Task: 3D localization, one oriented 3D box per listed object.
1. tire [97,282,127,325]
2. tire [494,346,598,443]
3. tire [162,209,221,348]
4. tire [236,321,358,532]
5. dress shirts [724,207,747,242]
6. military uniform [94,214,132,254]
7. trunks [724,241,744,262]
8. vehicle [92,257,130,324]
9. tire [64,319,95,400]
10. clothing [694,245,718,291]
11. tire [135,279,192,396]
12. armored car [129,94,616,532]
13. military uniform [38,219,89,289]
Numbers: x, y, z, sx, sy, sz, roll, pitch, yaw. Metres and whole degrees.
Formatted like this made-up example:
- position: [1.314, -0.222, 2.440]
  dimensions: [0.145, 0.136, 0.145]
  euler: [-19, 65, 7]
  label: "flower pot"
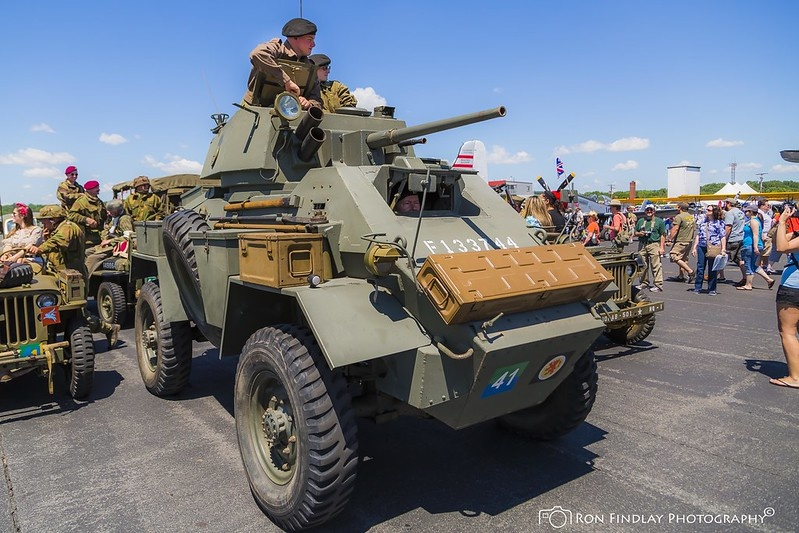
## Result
- position: [-5.516, 0.713, 10.949]
  dimensions: [0.252, 0.846, 0.783]
  euler: [1, 0, -42]
  label: "tire"
- position: [1.527, 1.347, 6.014]
  dimensions: [0.397, 1.222, 1.149]
  euler: [-4, 5, -38]
  label: "tire"
- position: [-2.725, 0.094, 7.260]
  dimensions: [0.418, 1.518, 1.495]
  euler: [-14, 50, -15]
  label: "tire"
- position: [-1.036, 1.569, 5.540]
  dimensions: [1.379, 1.938, 0.533]
  euler: [4, 9, 41]
  label: "tire"
- position: [8.804, -1.060, 14.985]
  dimensions: [0.868, 1.058, 0.549]
  euler: [-5, 4, -43]
  label: "dress shirts"
- position: [-6.061, -0.629, 11.991]
  dimensions: [0.718, 1.011, 0.560]
  euler: [-1, -9, 27]
  label: "military uniform"
- position: [8.867, -0.411, 15.170]
  dimensions: [0.514, 0.702, 0.380]
  euler: [5, 6, 42]
  label: "trunks"
- position: [-5.644, 0.762, 11.211]
  dimensions: [0.785, 0.845, 0.338]
  euler: [-4, 3, 38]
  label: "vehicle"
- position: [-4.262, 1.261, 7.639]
  dimensions: [0.230, 0.846, 0.803]
  euler: [-3, -6, -10]
  label: "tire"
- position: [7.683, 0.123, 14.438]
  dimensions: [0.441, 1.350, 0.328]
  euler: [32, -30, -34]
  label: "clothing"
- position: [-3.168, 0.976, 7.694]
  dimensions: [0.469, 1.760, 1.479]
  euler: [0, 0, -35]
  label: "tire"
- position: [-0.906, 0.137, 7.544]
  dimensions: [3.463, 3.940, 6.277]
  euler: [-1, 3, -38]
  label: "armored car"
- position: [-5.463, -0.190, 9.207]
  dimensions: [0.745, 1.304, 1.129]
  euler: [-8, 5, -41]
  label: "military uniform"
